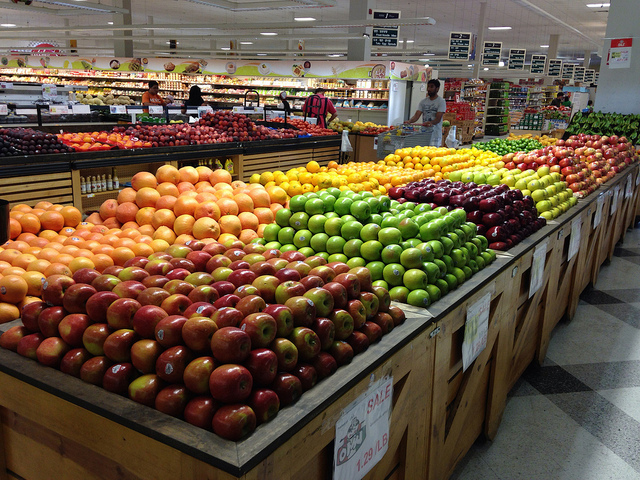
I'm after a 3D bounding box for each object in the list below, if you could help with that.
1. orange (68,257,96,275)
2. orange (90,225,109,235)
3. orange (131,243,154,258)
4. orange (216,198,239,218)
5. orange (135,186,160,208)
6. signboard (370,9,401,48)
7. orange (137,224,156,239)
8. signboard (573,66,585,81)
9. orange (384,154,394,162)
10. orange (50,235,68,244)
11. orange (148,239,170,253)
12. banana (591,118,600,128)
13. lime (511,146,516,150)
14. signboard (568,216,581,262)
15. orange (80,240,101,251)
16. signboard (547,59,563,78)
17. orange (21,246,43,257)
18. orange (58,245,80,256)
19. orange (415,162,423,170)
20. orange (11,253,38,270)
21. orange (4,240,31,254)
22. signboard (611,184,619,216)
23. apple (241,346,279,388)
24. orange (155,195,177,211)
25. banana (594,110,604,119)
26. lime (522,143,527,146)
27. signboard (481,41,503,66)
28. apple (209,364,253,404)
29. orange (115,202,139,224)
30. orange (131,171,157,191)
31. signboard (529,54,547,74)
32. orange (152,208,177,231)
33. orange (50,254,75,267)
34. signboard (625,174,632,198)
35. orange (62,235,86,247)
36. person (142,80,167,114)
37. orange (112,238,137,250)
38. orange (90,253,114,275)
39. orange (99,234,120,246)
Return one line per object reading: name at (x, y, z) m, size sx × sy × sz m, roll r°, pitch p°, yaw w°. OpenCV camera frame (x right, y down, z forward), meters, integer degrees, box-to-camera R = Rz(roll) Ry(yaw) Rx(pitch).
orange at (-1.058, 0.108, 1.721) m, size 0.087 × 0.079 × 0.084 m, roll 19°, pitch 11°, yaw 13°
orange at (-1.244, -0.058, 2.196) m, size 0.063 × 0.061 × 0.066 m, roll -7°, pitch -17°, yaw 38°
orange at (-0.881, 0.056, 1.922) m, size 0.079 × 0.040 × 0.076 m, roll 4°, pitch 2°, yaw -37°
orange at (-0.522, -0.191, 2.261) m, size 0.111 × 0.101 × 0.124 m, roll -7°, pitch 27°, yaw -5°
orange at (-1.029, -0.251, 2.317) m, size 0.164 × 0.127 × 0.132 m, roll -4°, pitch 5°, yaw 10°
signboard at (2.037, -6.705, 12.182) m, size 0.860 × 1.057 × 1.677 m, roll 2°, pitch 20°, yaw 6°
orange at (-0.969, -0.042, 2.195) m, size 0.086 × 0.068 × 0.073 m, roll 5°, pitch -8°, yaw 28°
signboard at (19.251, -12.442, 29.019) m, size 1.433 × 0.963 × 0.499 m, roll -17°, pitch 27°, yaw -38°
orange at (0.740, -0.872, 4.136) m, size 0.077 × 0.073 × 0.141 m, roll -7°, pitch -13°, yaw -10°
orange at (-1.394, -0.004, 2.079) m, size 0.067 × 0.053 × 0.056 m, roll 3°, pitch 26°, yaw 41°
orange at (-0.830, 0.027, 2.002) m, size 0.097 × 0.080 × 0.090 m, roll 19°, pitch -26°, yaw -40°
banana at (5.407, -2.291, 7.623) m, size 0.086 × 0.069 × 0.272 m, roll 8°, pitch 45°, yaw 41°
lime at (2.813, -1.341, 5.658) m, size 0.056 × 0.036 × 0.067 m, roll -1°, pitch 6°, yaw 3°
signboard at (2.198, -0.020, 3.372) m, size 0.007 × 0.337 × 0.362 m, roll 13°, pitch 25°, yaw 36°
orange at (-1.153, 0.028, 1.945) m, size 0.058 × 0.032 × 0.062 m, roll 2°, pitch 5°, yaw 9°
signboard at (14.313, -10.577, 23.759) m, size 0.823 × 0.939 × 0.612 m, roll 2°, pitch 21°, yaw 6°
orange at (-1.397, 0.052, 1.885) m, size 0.065 × 0.032 × 0.062 m, roll -4°, pitch 15°, yaw -34°
orange at (-1.219, 0.053, 1.890) m, size 0.063 × 0.035 × 0.066 m, roll 2°, pitch -1°, yaw -6°
orange at (0.992, -0.743, 3.923) m, size 0.069 × 0.063 × 0.076 m, roll -5°, pitch -24°, yaw 8°
orange at (-1.358, 0.097, 1.781) m, size 0.072 × 0.070 × 0.074 m, roll -23°, pitch 3°, yaw -12°
orange at (-1.519, 0.035, 1.937) m, size 0.077 × 0.038 × 0.061 m, roll -4°, pitch 11°, yaw -30°
signboard at (3.681, -0.513, 4.866) m, size 0.016 × 0.330 × 0.355 m, roll 13°, pitch 27°, yaw 37°
apple at (-0.142, 0.319, 1.027) m, size 0.101 × 0.083 × 0.096 m, roll 12°, pitch 14°, yaw 42°
orange at (-0.908, -0.217, 2.286) m, size 0.123 × 0.094 × 0.100 m, roll -2°, pitch 7°, yaw 16°
banana at (5.603, -2.537, 7.792) m, size 0.214 × 0.056 × 0.142 m, roll -40°, pitch 35°, yaw -23°
lime at (3.053, -1.433, 5.824) m, size 0.066 × 0.033 × 0.063 m, roll -17°, pitch 26°, yaw -12°
signboard at (7.872, -8.613, 17.844) m, size 1.059 × 1.035 × 0.741 m, roll -14°, pitch 25°, yaw -32°
apple at (-0.216, 0.348, 0.929) m, size 0.088 × 0.085 × 0.066 m, roll 8°, pitch 23°, yaw 22°
orange at (-1.141, -0.162, 2.372) m, size 0.152 × 0.119 × 0.120 m, roll 9°, pitch -6°, yaw 4°
orange at (-1.111, -0.364, 2.471) m, size 0.158 × 0.118 × 0.125 m, roll 5°, pitch 1°, yaw -13°
signboard at (12.415, -10.064, 22.153) m, size 0.724 × 1.014 × 0.999 m, roll 8°, pitch 22°, yaw 22°
orange at (-0.880, -0.120, 2.261) m, size 0.123 × 0.110 × 0.137 m, roll 9°, pitch -15°, yaw 6°
orange at (-1.179, 0.087, 1.775) m, size 0.069 × 0.034 × 0.066 m, roll -1°, pitch 13°, yaw -11°
signboard at (4.471, -0.794, 5.653) m, size 0.291 × 0.315 × 0.026 m, roll -24°, pitch 21°, yaw -38°
orange at (-1.251, 0.004, 1.988) m, size 0.083 × 0.042 × 0.072 m, roll 5°, pitch 12°, yaw 40°
person at (-4.079, -3.381, 9.636) m, size 0.652 × 1.040 × 0.589 m, roll -1°, pitch 20°, yaw -14°
orange at (-0.982, 0.021, 1.958) m, size 0.078 × 0.040 × 0.066 m, roll -4°, pitch -1°, yaw 24°
orange at (-0.927, 0.105, 1.649) m, size 0.077 × 0.060 × 0.064 m, roll 13°, pitch 8°, yaw 21°
orange at (-1.085, 0.002, 2.008) m, size 0.062 × 0.039 × 0.074 m, roll 1°, pitch 1°, yaw 3°
